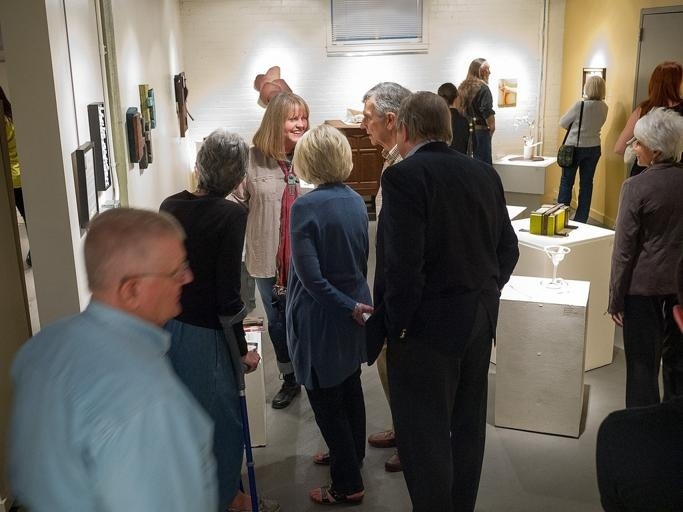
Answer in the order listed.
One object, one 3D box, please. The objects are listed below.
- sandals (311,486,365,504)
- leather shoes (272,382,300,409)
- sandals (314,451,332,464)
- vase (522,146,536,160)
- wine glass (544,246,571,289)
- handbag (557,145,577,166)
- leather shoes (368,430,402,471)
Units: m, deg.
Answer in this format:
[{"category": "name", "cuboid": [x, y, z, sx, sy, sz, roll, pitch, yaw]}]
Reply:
[{"category": "sandals", "cuboid": [-0.033, 1.391, 3.166, 0.284, 0.121, 0.122, 4, 4, 2]}, {"category": "leather shoes", "cuboid": [-0.428, 1.069, 4.173, 0.099, 0.144, 0.291, -1, 3, 21]}, {"category": "sandals", "cuboid": [-0.134, 1.305, 3.517, 0.152, 0.061, 0.084, 3, 14, -8]}, {"category": "vase", "cuboid": [3.098, -1.724, 8.853, 0.157, 0.223, 0.226, 3, 13, 18]}, {"category": "wine glass", "cuboid": [1.629, 0.045, 4.063, 0.175, 0.312, 0.589, 4, 14, 23]}, {"category": "handbag", "cuboid": [3.194, -1.430, 7.610, 0.236, 0.329, 0.187, 4, 13, 22]}, {"category": "leather shoes", "cuboid": [0.262, 1.265, 3.500, 0.355, 0.159, 0.135, 4, 0, -30]}]
